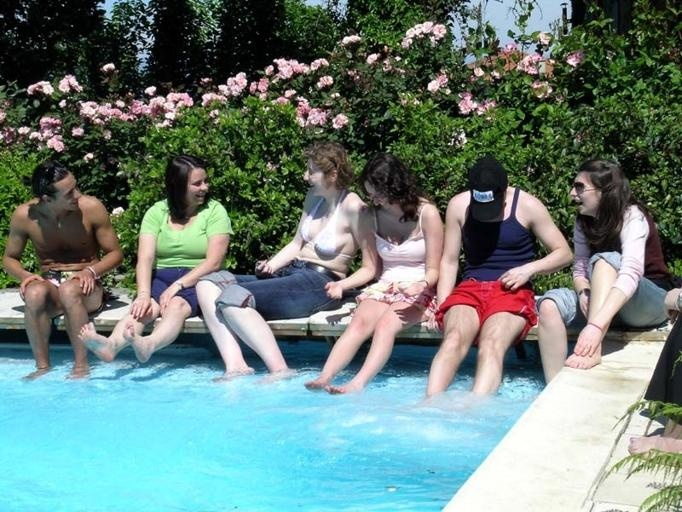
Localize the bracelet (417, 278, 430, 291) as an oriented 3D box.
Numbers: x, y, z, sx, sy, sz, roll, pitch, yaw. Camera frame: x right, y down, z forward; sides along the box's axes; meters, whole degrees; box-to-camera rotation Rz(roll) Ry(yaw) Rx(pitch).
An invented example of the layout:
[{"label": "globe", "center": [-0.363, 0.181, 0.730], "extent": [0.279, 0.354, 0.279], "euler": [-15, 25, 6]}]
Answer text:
[{"label": "bracelet", "center": [0.671, 0.230, 5.082], "extent": [0.031, 0.064, 0.088], "euler": [23, -6, -34]}]

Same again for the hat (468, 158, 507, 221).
[{"label": "hat", "center": [1.188, -0.503, 4.965], "extent": [0.291, 0.486, 0.270], "euler": [2, -15, 22]}]

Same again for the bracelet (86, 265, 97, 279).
[{"label": "bracelet", "center": [-2.267, 0.164, 5.682], "extent": [0.084, 0.132, 0.181], "euler": [-6, 13, -22]}]

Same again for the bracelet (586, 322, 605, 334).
[{"label": "bracelet", "center": [1.744, 0.485, 4.259], "extent": [0.071, 0.021, 0.076], "euler": [38, 2, 26]}]
